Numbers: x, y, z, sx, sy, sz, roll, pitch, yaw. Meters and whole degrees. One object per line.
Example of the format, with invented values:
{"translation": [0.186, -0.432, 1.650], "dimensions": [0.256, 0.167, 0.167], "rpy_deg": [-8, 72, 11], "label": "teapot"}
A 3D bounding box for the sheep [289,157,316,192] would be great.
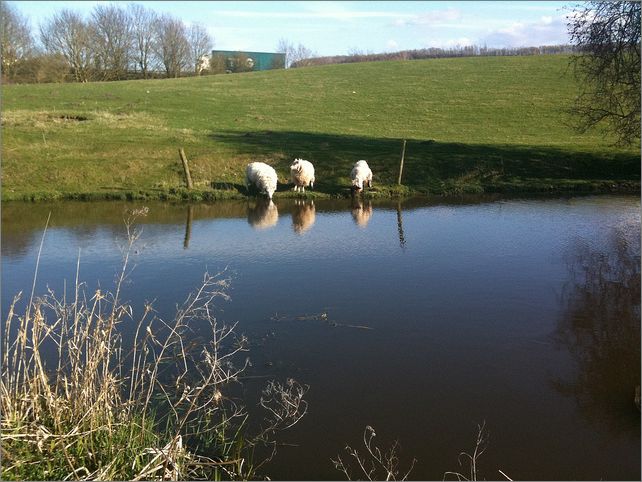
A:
{"translation": [-0.952, -3.375, 30.466], "dimensions": [0.898, 1.637, 1.357], "rpy_deg": [4, 15, 19], "label": "sheep"}

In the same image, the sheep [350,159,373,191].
{"translation": [2.116, -3.454, 30.603], "dimensions": [0.675, 1.244, 2.288], "rpy_deg": [-4, 36, 6], "label": "sheep"}

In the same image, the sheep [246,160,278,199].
{"translation": [-3.115, -3.100, 29.824], "dimensions": [1.058, 1.427, 2.457], "rpy_deg": [-4, 41, -39], "label": "sheep"}
